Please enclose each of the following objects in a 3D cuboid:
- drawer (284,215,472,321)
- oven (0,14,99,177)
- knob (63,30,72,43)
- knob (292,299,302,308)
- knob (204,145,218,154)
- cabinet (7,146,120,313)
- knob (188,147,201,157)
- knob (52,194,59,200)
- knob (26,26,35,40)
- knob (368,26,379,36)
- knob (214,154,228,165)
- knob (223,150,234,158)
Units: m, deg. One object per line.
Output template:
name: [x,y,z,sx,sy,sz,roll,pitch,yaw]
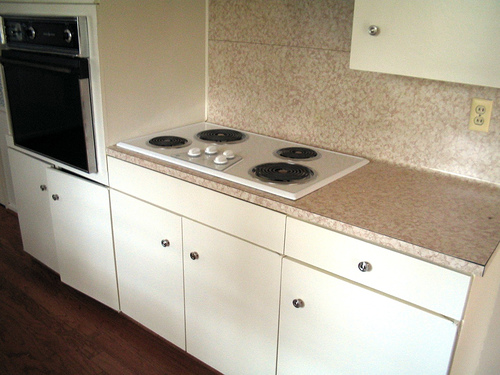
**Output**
drawer: [0.455,0.281,1.373,0.416,0.091,0.383,20,27,29]
oven: [-1.084,-0.534,2.063,0.681,0.636,0.443,19,33,26]
knob: [-0.909,-0.761,1.876,0.041,0.055,0.017,8,16,28]
knob: [0.195,0.477,1.555,0.032,0.033,0.012,14,11,40]
knob: [-0.198,-0.206,1.927,0.050,0.017,0.048,2,24,5]
cabinet: [-1.132,0.260,2.329,0.842,0.699,0.487,22,32,36]
knob: [-0.272,-0.185,1.885,0.047,0.026,0.046,-18,29,-36]
knob: [-1.193,0.054,2.306,0.052,0.039,0.013,15,25,24]
knob: [-1.171,-0.835,2.020,0.048,0.063,0.016,3,14,25]
knob: [0.478,-0.616,1.455,0.032,0.031,0.016,24,27,27]
knob: [-0.139,-0.136,1.798,0.049,0.025,0.048,-18,34,-30]
knob: [-0.111,-0.175,1.870,0.041,0.010,0.040,-18,33,-35]
